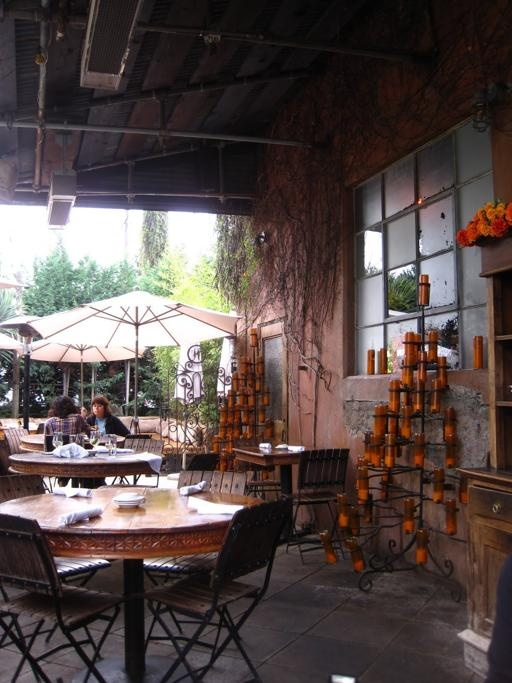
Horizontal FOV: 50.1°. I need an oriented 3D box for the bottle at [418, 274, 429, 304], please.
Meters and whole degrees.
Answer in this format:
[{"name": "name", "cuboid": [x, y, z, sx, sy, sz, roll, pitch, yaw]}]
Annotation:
[{"name": "bottle", "cuboid": [1.271, -0.392, 4.125, 0.061, 0.267, 0.356, -3, -8, 21]}]
